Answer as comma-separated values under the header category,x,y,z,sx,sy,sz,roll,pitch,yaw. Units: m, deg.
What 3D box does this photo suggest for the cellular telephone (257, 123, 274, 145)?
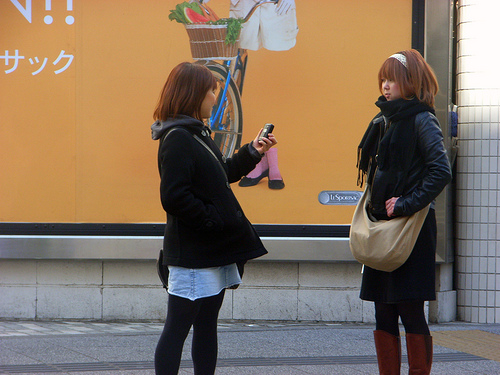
category,x,y,z,sx,sy,sz,roll,pitch,yaw
cellular telephone,0.142,-0.494,9.659,0.088,0.196,0.045,13,-15,41

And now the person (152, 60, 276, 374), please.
category,x,y,z,sx,sy,sz,roll,pitch,yaw
person,-0.409,0.267,9.393,1.046,2.790,0.601,-3,7,-8

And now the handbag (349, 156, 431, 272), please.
category,x,y,z,sx,sy,sz,roll,pitch,yaw
handbag,1.275,0.252,9.660,0.706,1.059,0.355,2,9,31
